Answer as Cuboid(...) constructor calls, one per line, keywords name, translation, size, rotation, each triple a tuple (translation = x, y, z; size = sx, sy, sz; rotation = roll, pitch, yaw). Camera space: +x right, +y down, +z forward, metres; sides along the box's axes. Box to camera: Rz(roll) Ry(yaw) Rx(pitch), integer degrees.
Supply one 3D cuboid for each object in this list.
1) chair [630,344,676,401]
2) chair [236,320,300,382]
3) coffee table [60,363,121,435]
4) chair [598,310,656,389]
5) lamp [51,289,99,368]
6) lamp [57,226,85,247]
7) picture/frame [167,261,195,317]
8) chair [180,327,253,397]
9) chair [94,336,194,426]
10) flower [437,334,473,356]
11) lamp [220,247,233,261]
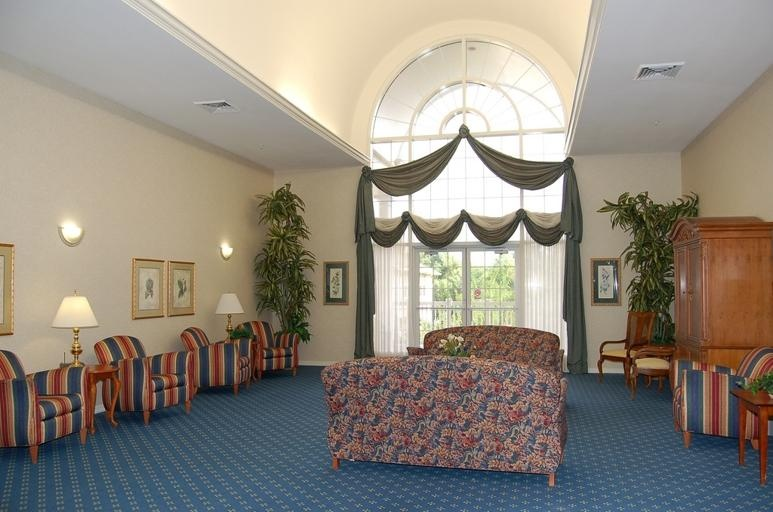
Cuboid(name="chair", translation=(4.709, 2.065, 9.547), size=(0.669, 0.934, 0.833), rotation=(2, -7, 27))
Cuboid(name="chair", translation=(-2.548, 1.956, 11.375), size=(1.005, 1.268, 1.084), rotation=(4, -10, -42))
Cuboid(name="coffee table", translation=(-4.155, 1.998, 7.795), size=(0.556, 0.719, 0.578), rotation=(2, 1, -20))
Cuboid(name="chair", translation=(4.689, 1.765, 10.354), size=(0.851, 1.399, 0.790), rotation=(1, -2, -16))
Cuboid(name="lamp", translation=(-4.467, 1.068, 7.717), size=(0.569, 1.045, 0.605), rotation=(-1, 0, 30))
Cuboid(name="lamp", translation=(-4.777, -0.299, 8.120), size=(0.095, 0.289, 0.273), rotation=(3, -1, 39))
Cuboid(name="picture/frame", translation=(-3.850, 0.608, 10.020), size=(0.070, 1.161, 0.952), rotation=(-2, -3, 20))
Cuboid(name="chair", translation=(-3.206, 1.970, 9.963), size=(1.081, 1.189, 1.110), rotation=(0, -10, -13))
Cuboid(name="chair", translation=(-3.823, 1.881, 8.419), size=(1.104, 1.271, 1.031), rotation=(-5, -5, 18))
Cuboid(name="flower", translation=(1.021, 1.357, 8.076), size=(0.365, 0.326, 0.442), rotation=(2, -5, 11))
Cuboid(name="lamp", translation=(-3.296, -0.033, 11.179), size=(0.232, 0.282, 0.200), rotation=(-1, -3, -42))
